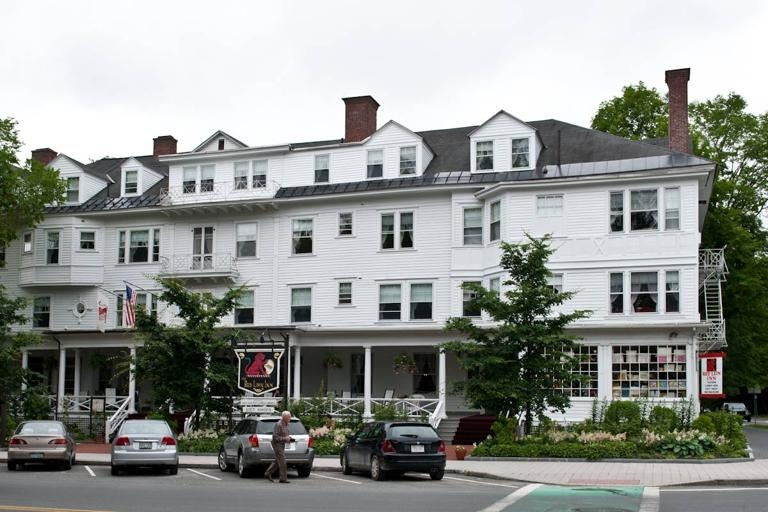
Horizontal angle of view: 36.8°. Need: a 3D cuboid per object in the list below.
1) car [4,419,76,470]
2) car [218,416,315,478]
[{"bbox_3d":[-15.032,8.172,50.631,2.598,2.085,0.978,4,-12,-15],"label":"car"},{"bbox_3d":[-5.186,7.956,49.060,2.813,2.118,6.285,2,-5,-29],"label":"car"}]
